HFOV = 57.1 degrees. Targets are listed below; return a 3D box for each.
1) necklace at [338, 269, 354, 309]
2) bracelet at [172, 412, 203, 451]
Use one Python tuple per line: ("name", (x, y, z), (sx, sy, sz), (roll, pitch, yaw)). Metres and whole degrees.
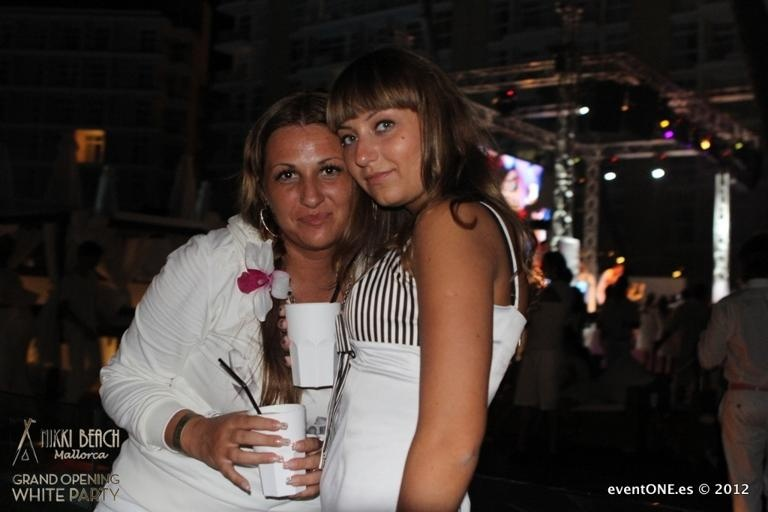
("necklace", (-0.357, 0.292, 6.621), (0.218, 0.289, 0.081), (-4, -16, 40))
("bracelet", (-1.782, 1.581, 6.338), (0.233, 0.341, 0.059), (2, -2, -16))
